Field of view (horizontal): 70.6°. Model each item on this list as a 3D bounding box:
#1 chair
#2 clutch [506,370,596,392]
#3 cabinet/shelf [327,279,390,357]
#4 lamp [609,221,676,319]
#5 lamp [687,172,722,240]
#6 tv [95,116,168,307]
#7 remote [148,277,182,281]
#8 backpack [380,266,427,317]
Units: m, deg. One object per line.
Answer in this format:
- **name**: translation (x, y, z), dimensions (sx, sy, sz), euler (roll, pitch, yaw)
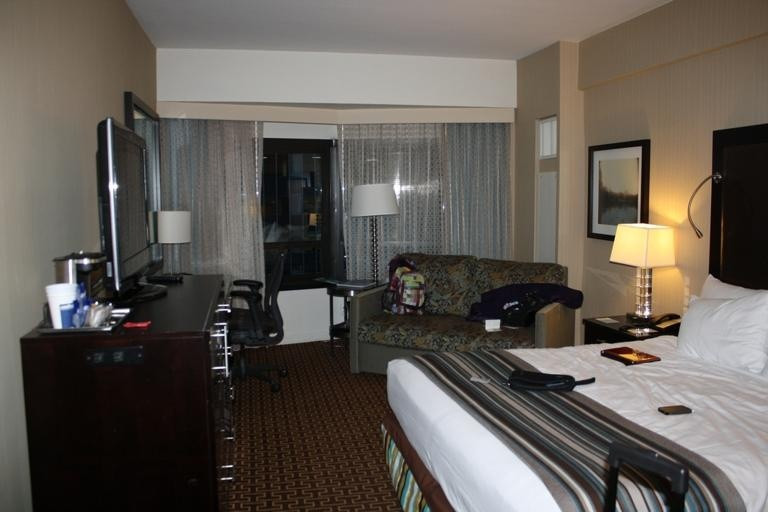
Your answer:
- **chair**: translation (-1.306, 0.595, 5.177), dimensions (0.819, 1.288, 0.953), euler (3, 1, -20)
- **clutch**: translation (0.966, 0.764, 3.308), dimensions (0.343, 0.085, 0.202), euler (-7, -5, 26)
- **cabinet/shelf**: translation (-0.327, 0.657, 5.936), dimensions (0.589, 0.657, 0.617), euler (-4, -9, 11)
- **lamp**: translation (2.227, 0.130, 4.622), dimensions (0.492, 0.811, 0.402), euler (-7, 15, -24)
- **lamp**: translation (2.555, -0.407, 4.344), dimensions (0.201, 0.538, 0.280), euler (6, 15, 26)
- **tv**: translation (-1.749, -0.317, 3.721), dimensions (0.342, 1.118, 1.108), euler (0, 6, -11)
- **remote**: translation (-1.726, 0.179, 4.298), dimensions (0.108, 0.023, 0.112), euler (-1, 3, 6)
- **backpack**: translation (0.250, 0.335, 5.581), dimensions (0.390, 0.549, 0.280), euler (1, 11, -27)
